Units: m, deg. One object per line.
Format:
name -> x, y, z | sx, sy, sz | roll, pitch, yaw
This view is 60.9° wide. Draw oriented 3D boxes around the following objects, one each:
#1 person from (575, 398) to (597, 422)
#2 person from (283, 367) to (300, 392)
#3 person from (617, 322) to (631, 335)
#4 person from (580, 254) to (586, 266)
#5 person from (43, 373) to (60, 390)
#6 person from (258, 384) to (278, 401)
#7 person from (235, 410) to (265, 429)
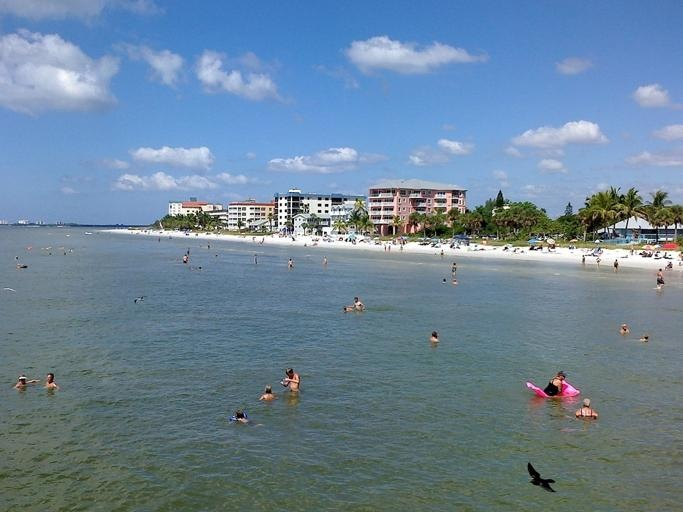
person -> 12.294, 7.592, 28.863 | 1.028, 0.868, 0.806 | 3, 6, 20
person -> -2.726, 6.773, 31.601 | 0.979, 1.034, 0.755 | 3, 6, 18
person -> 21.986, 5.626, 44.746 | 0.864, 0.719, 1.503 | 0, 2, 9
person -> 47.713, 0.839, 113.977 | 0.847, 2.221, 0.987 | 7, 9, 19
person -> -15.978, 6.877, 31.761 | 0.790, 0.515, 0.325 | 1, -2, 28
person -> -3.909, 7.151, 30.831 | 0.914, 0.638, 1.526 | 0, 6, -6
person -> -4.695, 7.925, 28.103 | 1.148, 0.394, 0.742 | 5, 0, 30
